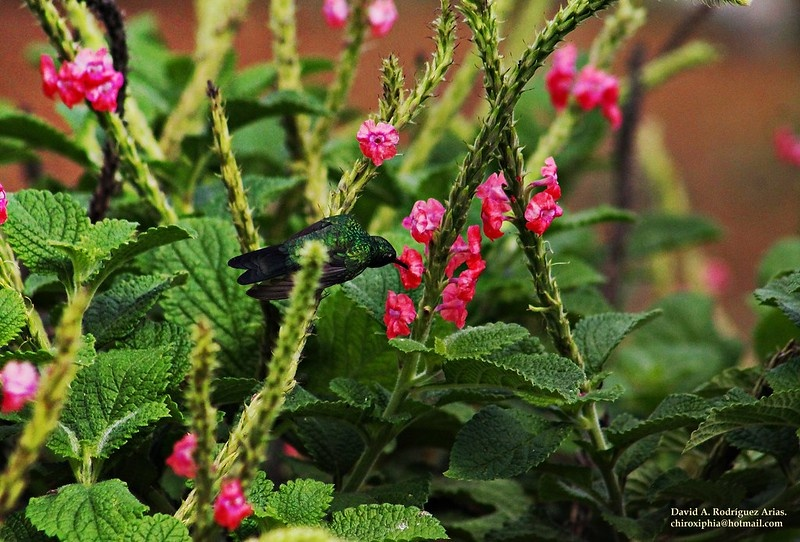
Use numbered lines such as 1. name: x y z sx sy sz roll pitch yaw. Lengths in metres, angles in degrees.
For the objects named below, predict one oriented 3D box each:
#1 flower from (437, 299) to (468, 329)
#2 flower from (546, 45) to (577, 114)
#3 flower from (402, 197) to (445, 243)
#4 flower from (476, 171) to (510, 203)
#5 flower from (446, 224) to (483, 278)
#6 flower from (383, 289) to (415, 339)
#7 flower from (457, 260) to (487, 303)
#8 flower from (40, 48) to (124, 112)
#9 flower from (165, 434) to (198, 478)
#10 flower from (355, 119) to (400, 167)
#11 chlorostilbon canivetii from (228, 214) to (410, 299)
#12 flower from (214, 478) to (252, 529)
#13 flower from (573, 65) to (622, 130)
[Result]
1. flower: 0.073 0.061 1.226 0.037 0.036 0.058 -4 -7 6
2. flower: 0.359 -0.419 1.969 0.068 0.163 0.223 -4 -7 10
3. flower: 0.025 -0.055 1.198 0.059 0.031 0.061 1 -43 15
4. flower: 0.122 -0.116 1.206 0.052 0.047 0.027 0 -7 -23
5. flower: 0.091 -0.026 1.202 0.035 0.050 0.070 17 -37 -43
6. flower: -0.009 0.060 1.212 0.028 0.057 0.053 -12 -31 20
7. flower: 0.094 0.015 1.199 0.037 0.055 0.019 24 -13 -30
8. flower: -0.459 -0.273 1.313 0.101 0.086 0.071 32 -7 -9
9. flower: -0.252 0.208 1.041 0.019 0.053 0.052 -16 -27 -33
10. flower: -0.029 -0.174 1.203 0.054 0.062 0.051 -3 -7 -2
11. chlorostilbon canivetii: -0.119 -0.012 1.229 0.253 0.102 0.108 10 26 -20
12. flower: -0.192 0.267 1.010 0.052 0.061 0.021 2 2 -9
13. flower: 0.398 -0.355 1.796 0.094 0.106 0.187 -4 -7 12
